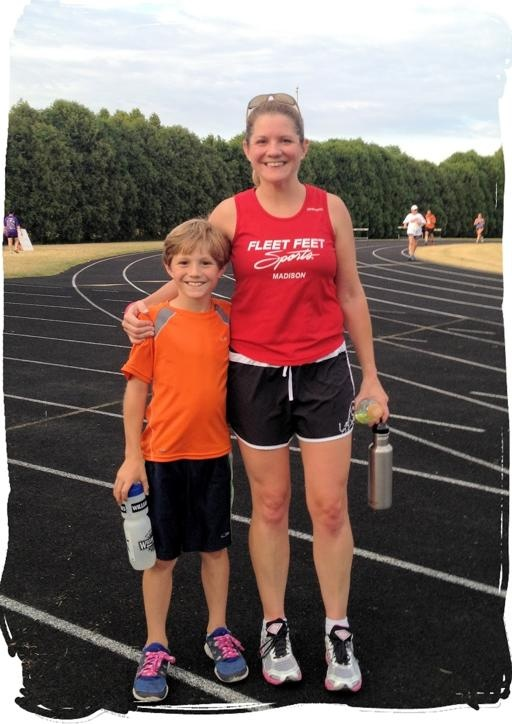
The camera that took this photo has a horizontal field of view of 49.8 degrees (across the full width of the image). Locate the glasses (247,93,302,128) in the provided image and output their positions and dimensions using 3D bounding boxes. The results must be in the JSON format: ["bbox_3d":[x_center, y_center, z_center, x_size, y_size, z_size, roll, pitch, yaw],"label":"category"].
[{"bbox_3d":[0.060,-0.855,1.836,0.191,0.088,0.094,0,8,1],"label":"glasses"}]

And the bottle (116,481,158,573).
[{"bbox_3d":[-0.391,0.583,1.875,0.103,0.349,0.118,6,10,38],"label":"bottle"}]

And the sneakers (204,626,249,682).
[{"bbox_3d":[-0.108,1.058,2.023,0.088,0.098,0.208,-3,2,-22],"label":"sneakers"}]

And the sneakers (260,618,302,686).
[{"bbox_3d":[0.088,1.021,1.955,0.098,0.110,0.238,-1,0,-5],"label":"sneakers"}]

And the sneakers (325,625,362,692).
[{"bbox_3d":[0.302,1.026,1.922,0.092,0.109,0.237,-1,3,3],"label":"sneakers"}]

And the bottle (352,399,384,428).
[{"bbox_3d":[0.416,0.191,2.047,0.085,0.109,0.100,-14,35,50],"label":"bottle"}]

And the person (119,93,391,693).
[{"bbox_3d":[0.162,0.111,1.922,0.627,2.015,0.414,-1,8,-5],"label":"person"}]

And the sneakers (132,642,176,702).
[{"bbox_3d":[-0.351,1.071,1.909,0.081,0.089,0.190,2,2,-6],"label":"sneakers"}]
